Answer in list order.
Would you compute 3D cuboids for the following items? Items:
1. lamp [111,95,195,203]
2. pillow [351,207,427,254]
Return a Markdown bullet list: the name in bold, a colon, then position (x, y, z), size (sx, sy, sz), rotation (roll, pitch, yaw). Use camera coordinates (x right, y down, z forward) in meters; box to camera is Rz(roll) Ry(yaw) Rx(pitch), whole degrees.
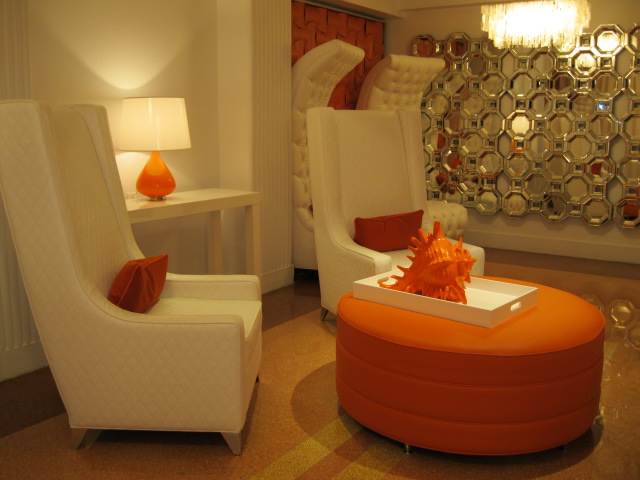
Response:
- **lamp**: position (-1.082, -0.664, 3.598), size (0.543, 0.946, 0.600), rotation (5, 12, 17)
- **pillow**: position (0.536, -0.061, 3.732), size (0.613, 0.258, 0.242), rotation (-12, 20, -29)
